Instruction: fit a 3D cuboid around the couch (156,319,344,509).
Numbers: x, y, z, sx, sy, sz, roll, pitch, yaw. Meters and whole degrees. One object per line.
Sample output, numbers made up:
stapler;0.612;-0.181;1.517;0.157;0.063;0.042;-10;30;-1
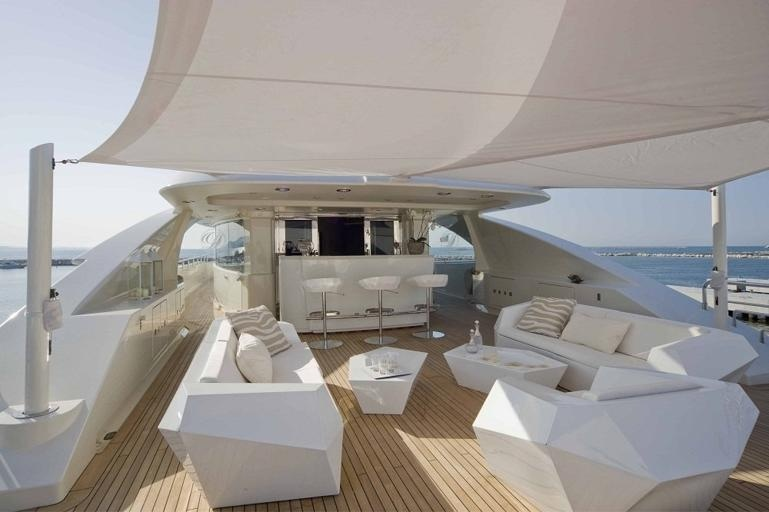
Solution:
couch;-1.090;1.517;3.625;1.366;1.135;1.023;-2;8;-7

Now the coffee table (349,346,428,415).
coffee table;0.161;1.386;5.204;0.725;0.343;0.900;0;27;-17

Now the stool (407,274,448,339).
stool;0.877;0.973;8.414;0.716;1.282;1.058;0;8;4

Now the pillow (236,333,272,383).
pillow;-1.409;1.121;4.414;0.340;0.466;0.665;-7;10;-14

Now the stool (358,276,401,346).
stool;-0.112;1.015;7.905;0.757;1.269;1.291;-1;7;-1

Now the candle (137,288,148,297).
candle;-3.434;0.515;5.706;0.089;0.086;0.090;1;4;-4

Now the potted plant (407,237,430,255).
potted plant;0.814;-0.239;9.927;0.419;0.298;0.422;0;4;-23
